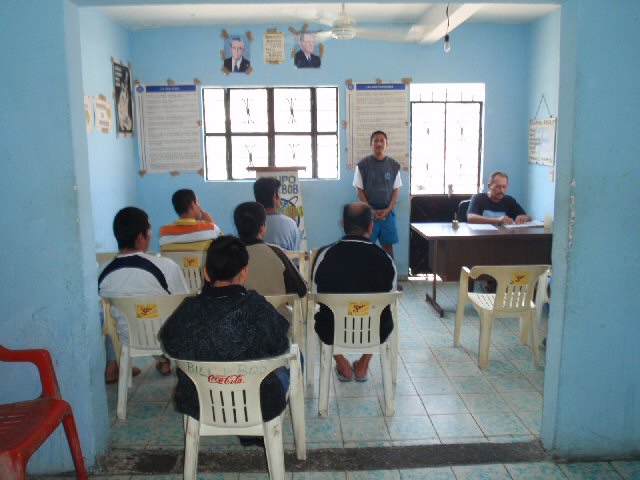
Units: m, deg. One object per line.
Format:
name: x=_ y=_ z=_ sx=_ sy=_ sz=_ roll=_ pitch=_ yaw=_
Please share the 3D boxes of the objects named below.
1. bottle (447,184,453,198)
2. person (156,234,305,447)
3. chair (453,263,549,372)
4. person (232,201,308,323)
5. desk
bottle: x=1.697 y=-0.655 z=6.834 sx=0.073 sy=0.144 sz=0.293 roll=1 pitch=11 yaw=14
person: x=-0.476 y=0.517 z=2.873 sx=0.673 sy=1.047 sz=0.597 roll=-1 pitch=13 yaw=2
chair: x=1.482 y=0.551 z=4.617 sx=0.816 sy=1.141 sz=0.757 roll=-2 pitch=14 yaw=1
person: x=-0.356 y=0.074 z=3.676 sx=0.541 sy=0.912 sz=0.459 roll=-2 pitch=37 yaw=13
desk: x=1.756 y=0.565 z=5.939 sx=1.566 sy=1.033 sz=0.877 roll=-1 pitch=20 yaw=-1
